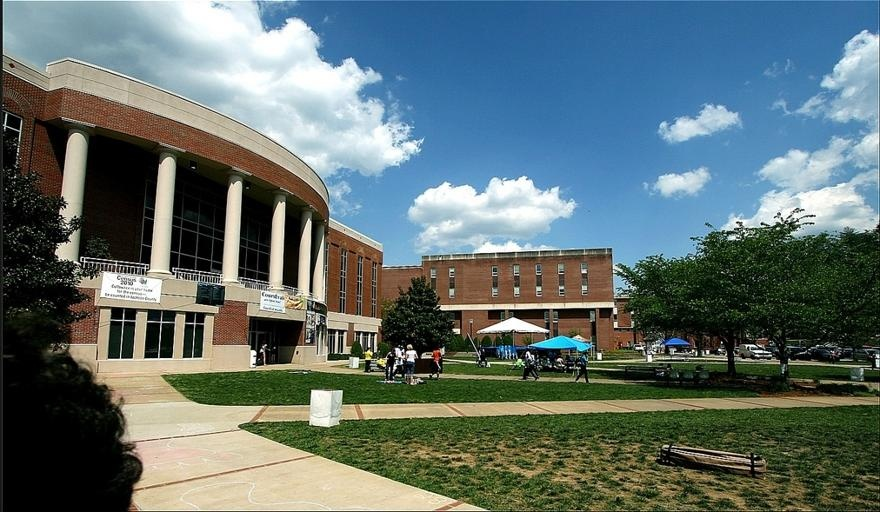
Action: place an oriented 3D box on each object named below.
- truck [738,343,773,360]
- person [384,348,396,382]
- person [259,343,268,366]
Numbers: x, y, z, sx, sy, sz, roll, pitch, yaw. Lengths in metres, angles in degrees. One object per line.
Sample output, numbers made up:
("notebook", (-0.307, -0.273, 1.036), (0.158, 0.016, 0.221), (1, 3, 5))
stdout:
("truck", (40.184, 12.360, 71.108), (2.332, 1.226, 3.652), (1, -14, -1))
("person", (-2.770, 6.307, 32.060), (0.520, 1.734, 1.135), (1, -14, -3))
("person", (-13.632, 7.708, 43.053), (0.493, 1.620, 1.086), (7, -15, -25))
